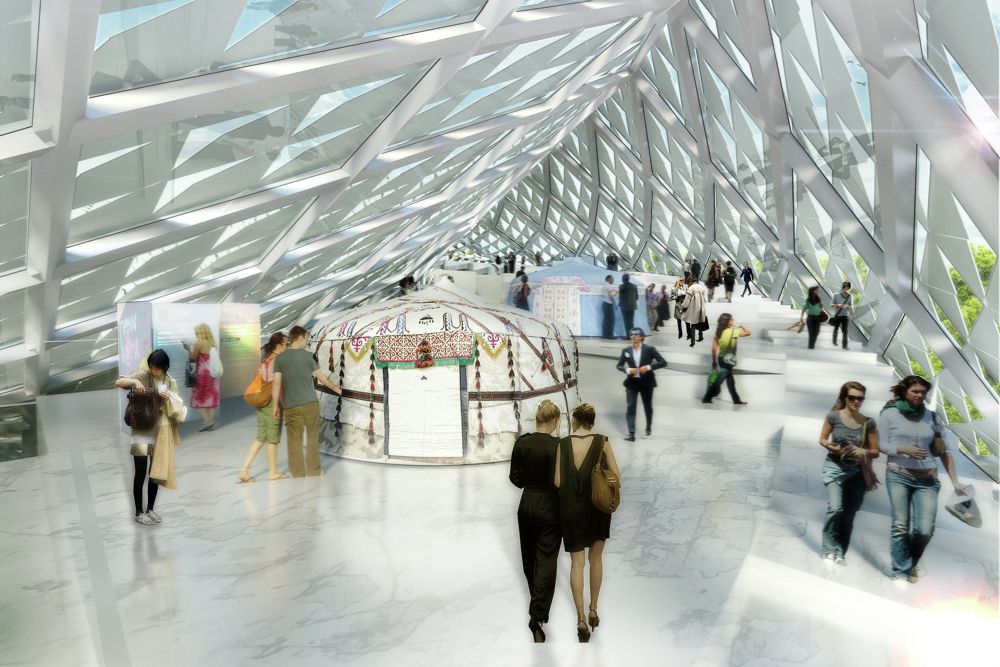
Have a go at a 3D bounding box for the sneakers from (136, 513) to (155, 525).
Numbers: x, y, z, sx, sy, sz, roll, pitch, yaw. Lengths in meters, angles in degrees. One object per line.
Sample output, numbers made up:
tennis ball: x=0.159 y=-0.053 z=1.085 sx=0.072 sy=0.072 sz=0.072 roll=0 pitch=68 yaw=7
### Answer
sneakers: x=-5.530 y=2.898 z=10.684 sx=0.267 sy=0.100 sz=0.144 roll=3 pitch=0 yaw=28

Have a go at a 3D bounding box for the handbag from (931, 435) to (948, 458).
handbag: x=5.487 y=1.389 z=8.578 sx=0.202 sy=0.233 sz=0.213 roll=15 pitch=-18 yaw=-43

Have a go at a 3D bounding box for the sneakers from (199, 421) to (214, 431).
sneakers: x=-6.807 y=2.176 z=15.986 sx=0.366 sy=0.125 sz=0.149 roll=-29 pitch=24 yaw=11

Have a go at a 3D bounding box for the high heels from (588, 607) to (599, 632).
high heels: x=1.139 y=3.468 z=8.325 sx=0.098 sy=0.271 sz=0.107 roll=-3 pitch=7 yaw=8

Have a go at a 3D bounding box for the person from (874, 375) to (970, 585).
person: x=5.235 y=1.824 z=8.722 sx=0.869 sy=2.602 sz=0.575 roll=3 pitch=11 yaw=19

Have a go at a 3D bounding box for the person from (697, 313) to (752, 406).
person: x=5.885 y=0.768 z=18.039 sx=1.557 sy=2.704 sz=1.083 roll=-9 pitch=28 yaw=-1

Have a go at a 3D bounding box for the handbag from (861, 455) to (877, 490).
handbag: x=4.795 y=1.790 z=8.856 sx=0.153 sy=0.423 sz=0.297 roll=3 pitch=-7 yaw=0

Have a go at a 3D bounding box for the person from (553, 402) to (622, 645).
person: x=1.014 y=2.237 z=8.323 sx=0.692 sy=2.765 sz=0.761 roll=-4 pitch=11 yaw=-18

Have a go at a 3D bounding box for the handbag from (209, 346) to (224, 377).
handbag: x=-6.507 y=0.623 z=15.756 sx=0.234 sy=0.792 sz=0.757 roll=-3 pitch=11 yaw=-12

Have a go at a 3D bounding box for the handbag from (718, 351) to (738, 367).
handbag: x=5.398 y=0.585 z=16.213 sx=0.388 sy=0.363 sz=0.194 roll=0 pitch=11 yaw=1

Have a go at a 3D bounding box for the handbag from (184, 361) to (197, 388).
handbag: x=-6.924 y=0.891 z=15.348 sx=0.208 sy=0.642 sz=0.247 roll=-8 pitch=13 yaw=-35

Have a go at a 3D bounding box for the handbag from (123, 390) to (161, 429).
handbag: x=-5.275 y=1.142 z=10.127 sx=0.449 sy=0.631 sz=0.197 roll=-2 pitch=11 yaw=-9

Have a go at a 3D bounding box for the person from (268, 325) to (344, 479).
person: x=-3.544 y=1.253 z=12.202 sx=0.963 sy=2.830 sz=0.617 roll=-5 pitch=11 yaw=-21

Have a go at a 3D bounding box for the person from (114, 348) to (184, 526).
person: x=-5.330 y=1.600 z=10.593 sx=0.813 sy=2.751 sz=1.111 roll=-7 pitch=12 yaw=-30
